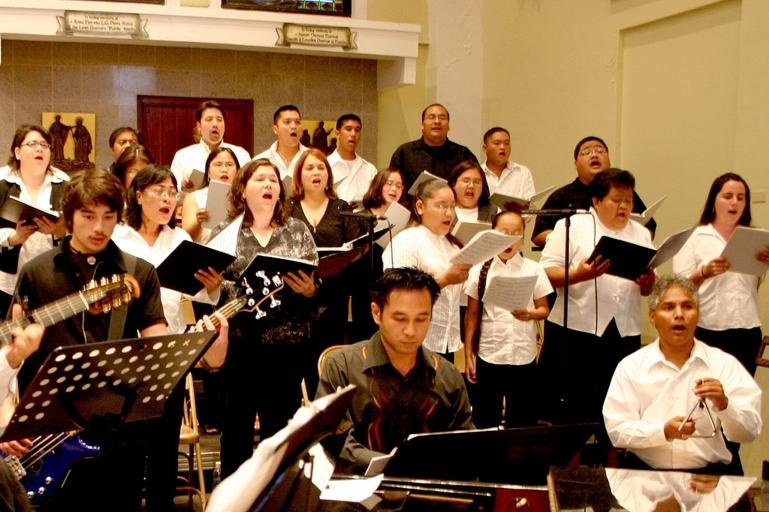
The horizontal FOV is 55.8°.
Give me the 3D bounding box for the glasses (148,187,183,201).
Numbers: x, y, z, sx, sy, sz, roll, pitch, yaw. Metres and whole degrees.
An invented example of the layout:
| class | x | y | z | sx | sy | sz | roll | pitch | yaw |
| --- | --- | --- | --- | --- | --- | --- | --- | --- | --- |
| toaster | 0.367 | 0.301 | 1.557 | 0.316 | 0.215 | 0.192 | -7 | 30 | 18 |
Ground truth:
| class | x | y | z | sx | sy | sz | roll | pitch | yaw |
| --- | --- | --- | --- | --- | --- | --- | --- | --- | --- |
| glasses | -1.466 | -0.413 | 4.804 | 0.190 | 0.088 | 0.075 | -7 | 12 | -39 |
